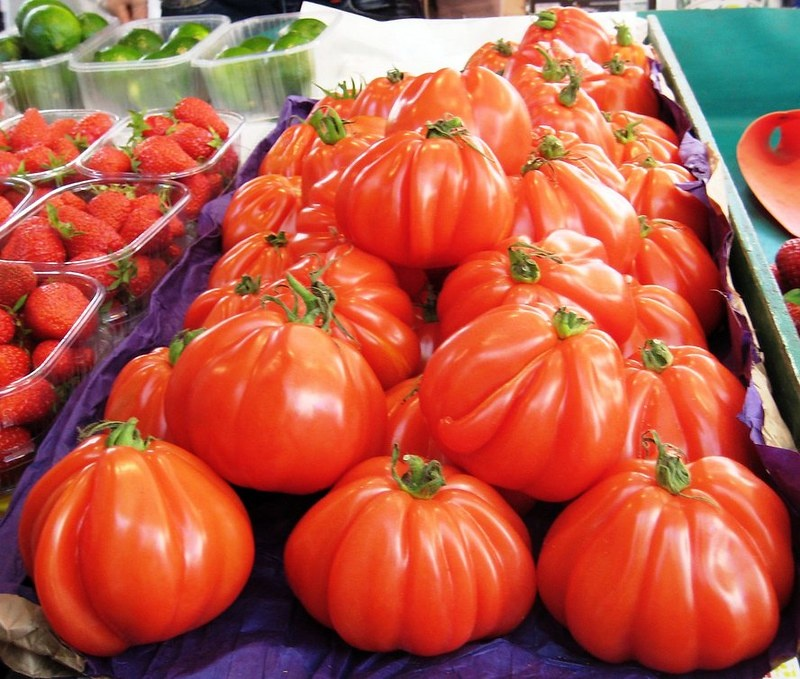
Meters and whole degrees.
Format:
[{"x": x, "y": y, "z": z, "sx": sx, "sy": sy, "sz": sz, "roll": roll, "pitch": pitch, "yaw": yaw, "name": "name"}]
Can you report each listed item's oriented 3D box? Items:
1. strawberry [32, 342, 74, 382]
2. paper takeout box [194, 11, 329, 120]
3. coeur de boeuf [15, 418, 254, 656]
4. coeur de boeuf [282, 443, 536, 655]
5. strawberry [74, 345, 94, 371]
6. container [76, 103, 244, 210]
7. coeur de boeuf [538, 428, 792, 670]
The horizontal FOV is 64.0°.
[{"x": -0.730, "y": 0.040, "z": 1.339, "sx": 0.081, "sy": 0.092, "sz": 0.079, "roll": -10, "pitch": 2, "yaw": -21, "name": "strawberry"}, {"x": -0.544, "y": -1.075, "z": 2.715, "sx": 0.488, "sy": 0.261, "sz": 0.623, "roll": -1, "pitch": 36, "yaw": 12, "name": "paper takeout box"}, {"x": -0.347, "y": 0.261, "z": 0.845, "sx": 0.205, "sy": 0.250, "sz": 0.265, "roll": 26, "pitch": 45, "yaw": 34, "name": "coeur de boeuf"}, {"x": 0.015, "y": 0.258, "z": 0.969, "sx": 0.361, "sy": 0.263, "sz": 0.417, "roll": -1, "pitch": 25, "yaw": 2, "name": "coeur de boeuf"}, {"x": -0.691, "y": 0.038, "z": 1.384, "sx": 0.043, "sy": 0.049, "sz": 0.043, "roll": 0, "pitch": 2, "yaw": 30, "name": "strawberry"}, {"x": -0.699, "y": -0.643, "z": 2.023, "sx": 0.348, "sy": 0.226, "sz": 0.476, "roll": 8, "pitch": 30, "yaw": 13, "name": "container"}, {"x": 0.363, "y": 0.272, "z": 0.846, "sx": 0.346, "sy": 0.215, "sz": 0.231, "roll": -6, "pitch": 36, "yaw": -3, "name": "coeur de boeuf"}]
